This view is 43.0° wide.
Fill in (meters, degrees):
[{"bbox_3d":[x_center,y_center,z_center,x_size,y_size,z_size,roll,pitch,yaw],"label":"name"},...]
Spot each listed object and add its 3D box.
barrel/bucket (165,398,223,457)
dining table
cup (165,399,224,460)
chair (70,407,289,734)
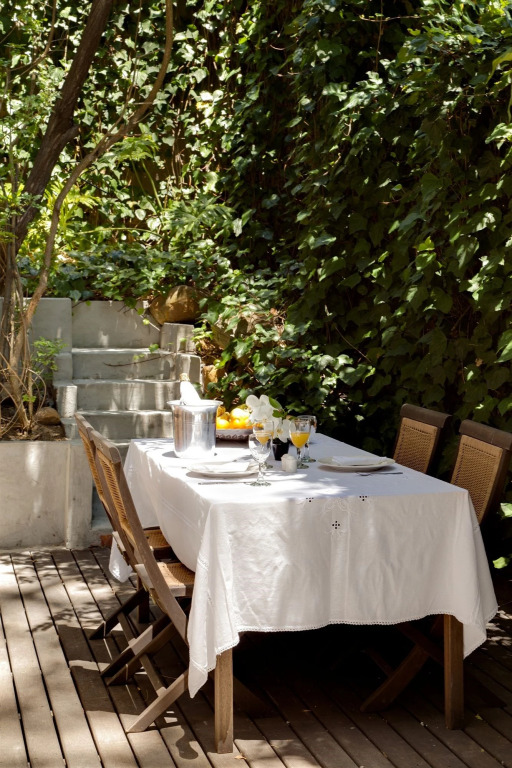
[{"bbox_3d":[-0.239,0.166,2.415,0.230,0.211,0.220,1,5,0],"label":"barrel/bucket"},{"bbox_3d":[0.169,0.458,1.900,0.753,0.436,0.963,1,2,-17],"label":"dining table"},{"bbox_3d":[-0.222,0.167,2.426,0.220,0.194,0.207,0,-1,0],"label":"cup"},{"bbox_3d":[-0.236,0.619,2.074,0.414,0.665,0.878,-4,7,-18],"label":"chair"}]
